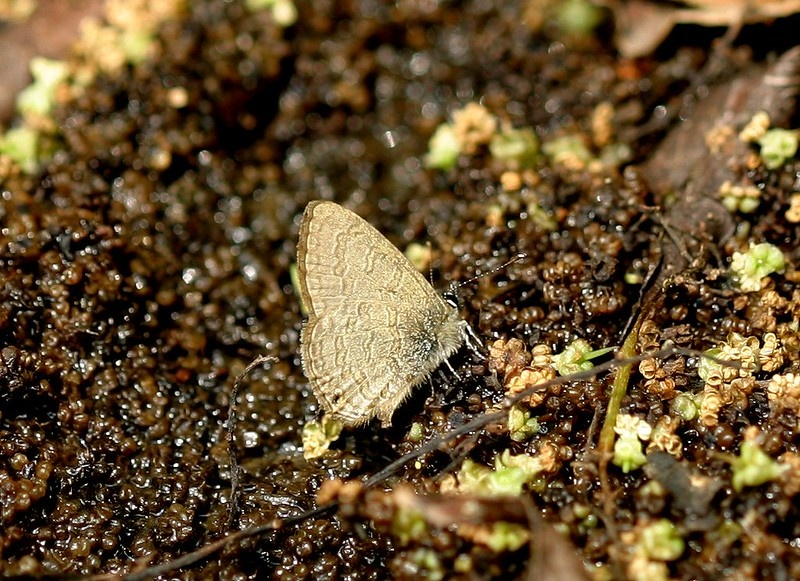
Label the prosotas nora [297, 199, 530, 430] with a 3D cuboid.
[{"bbox_3d":[-0.039,0.145,5.484,1.972,1.215,1.545,-13,99,-2],"label":"prosotas nora"}]
